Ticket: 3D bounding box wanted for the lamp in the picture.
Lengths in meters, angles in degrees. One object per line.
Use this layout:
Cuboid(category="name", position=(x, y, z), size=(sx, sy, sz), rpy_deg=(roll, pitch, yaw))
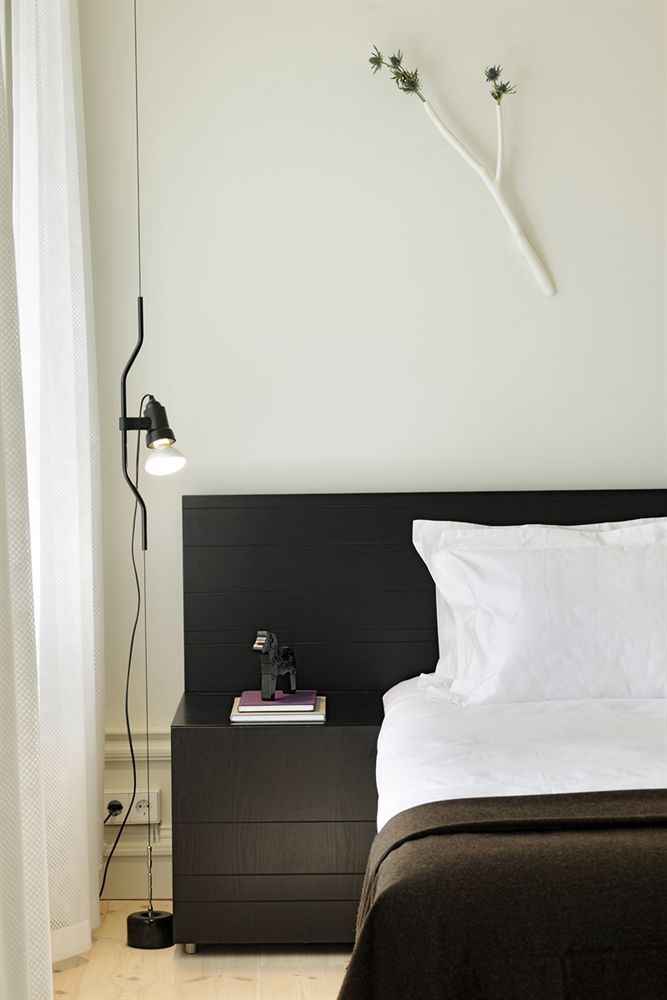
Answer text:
Cuboid(category="lamp", position=(-0.449, -0.193, 2.399), size=(0.165, 0.687, 0.132), rpy_deg=(-5, -8, 9))
